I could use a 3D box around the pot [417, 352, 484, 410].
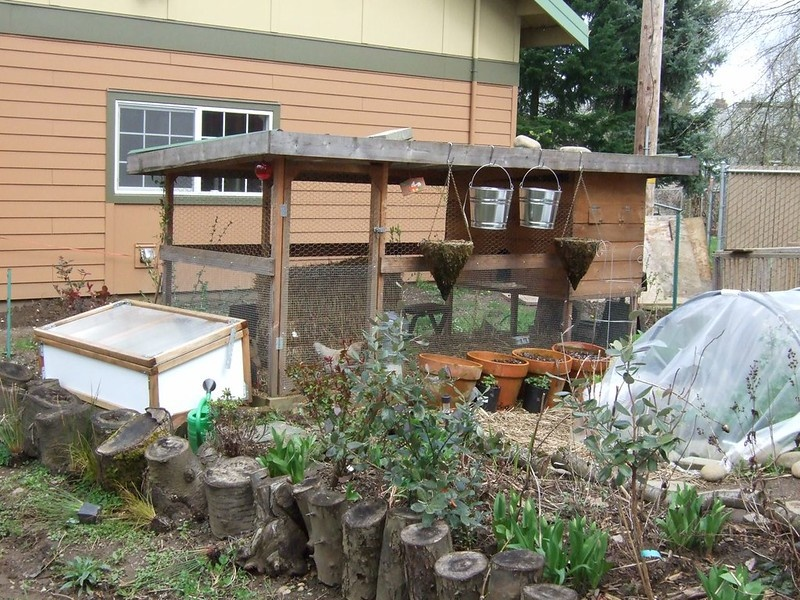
[{"bbox_3d":[0.468,0.644,5.950,0.496,0.368,0.503,6,1,0],"label":"pot"}]

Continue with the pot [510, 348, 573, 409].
[{"bbox_3d":[1.399,0.716,6.706,0.626,0.492,0.599,4,0,0],"label":"pot"}]

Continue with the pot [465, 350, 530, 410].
[{"bbox_3d":[0.951,0.791,6.642,0.563,0.436,0.564,5,5,0],"label":"pot"}]

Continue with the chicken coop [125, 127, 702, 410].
[{"bbox_3d":[-0.043,-0.270,6.380,3.221,1.558,1.660,-2,3,-34],"label":"chicken coop"}]

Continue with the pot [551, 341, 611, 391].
[{"bbox_3d":[1.800,0.582,6.807,0.628,0.465,0.647,1,2,0],"label":"pot"}]

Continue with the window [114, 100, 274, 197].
[{"bbox_3d":[-2.792,-2.060,9.354,2.386,1.398,0.133,2,0,-10],"label":"window"}]

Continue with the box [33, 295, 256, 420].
[{"bbox_3d":[-2.287,0.533,6.032,1.768,0.654,1.071,10,19,37],"label":"box"}]
